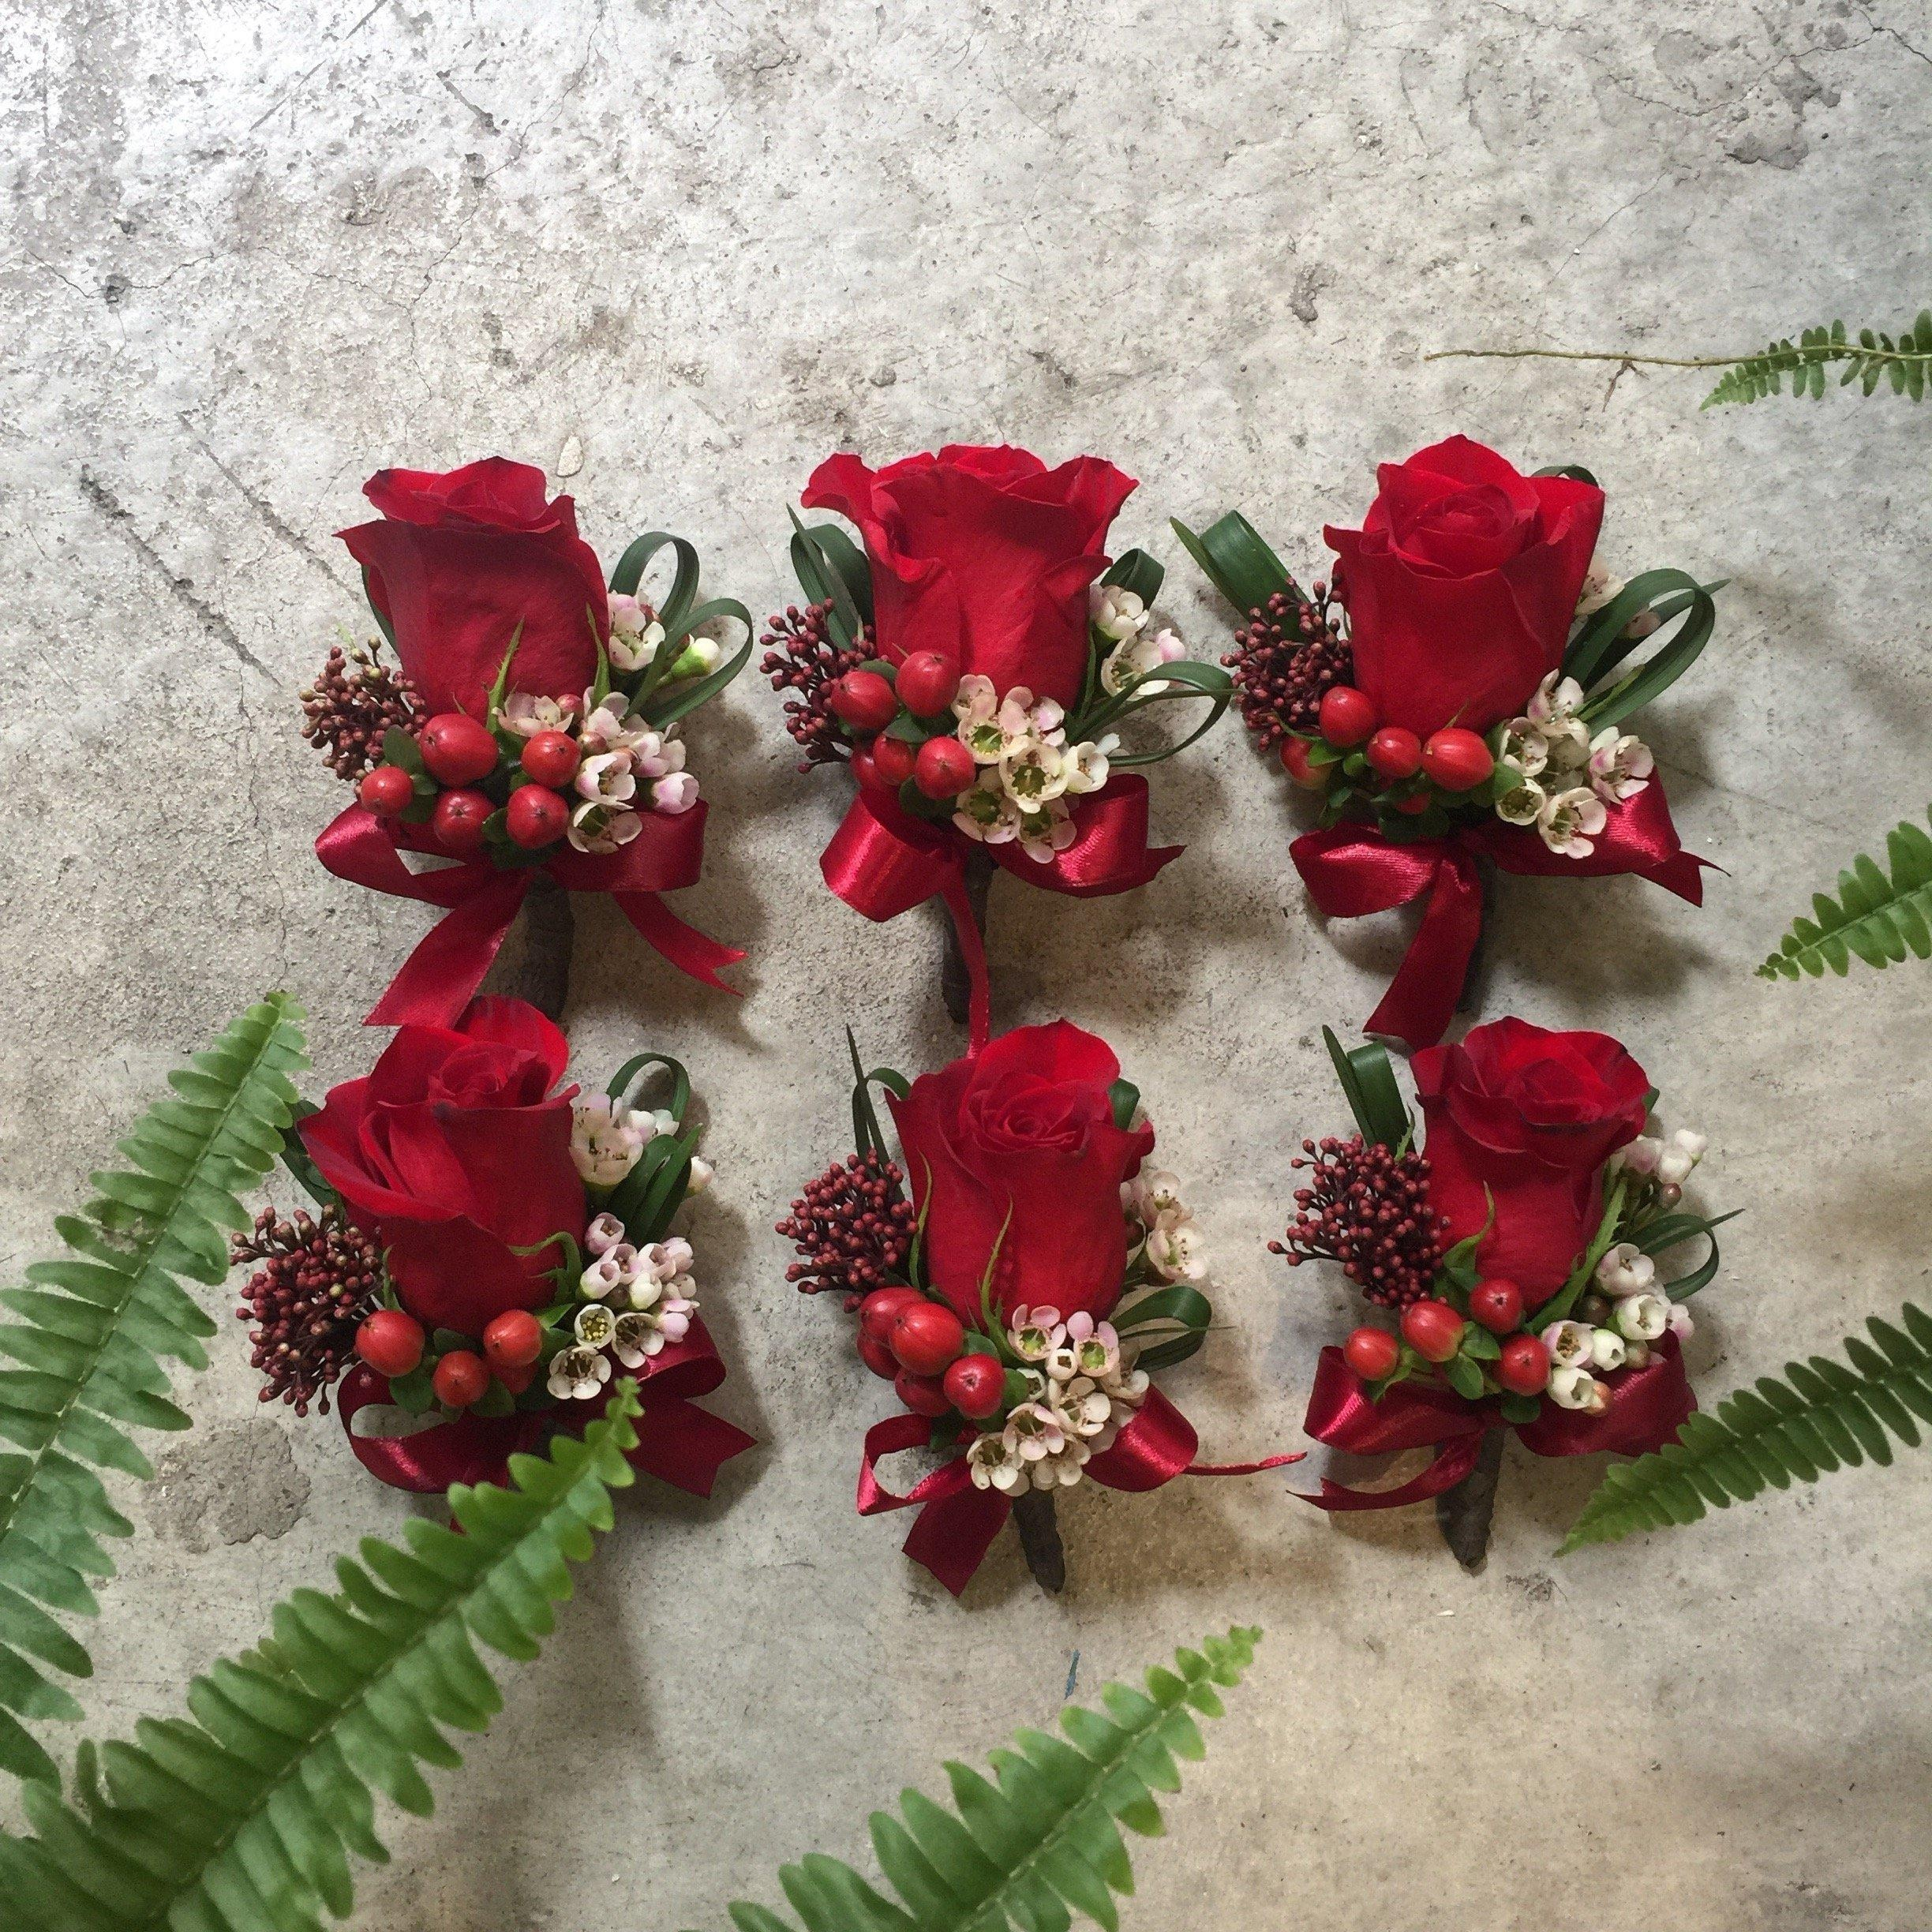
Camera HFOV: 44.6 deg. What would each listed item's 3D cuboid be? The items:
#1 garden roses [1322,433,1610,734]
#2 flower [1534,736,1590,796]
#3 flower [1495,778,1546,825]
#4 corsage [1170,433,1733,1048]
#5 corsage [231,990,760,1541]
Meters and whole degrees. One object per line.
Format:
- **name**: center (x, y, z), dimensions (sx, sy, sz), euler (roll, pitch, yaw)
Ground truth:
- **garden roses**: center (0.332, -0.243, 1.555), dimensions (0.186, 0.169, 0.159), euler (-25, 47, -13)
- **flower**: center (0.401, -0.135, 1.585), dimensions (0.051, 0.020, 0.036), euler (8, 107, 16)
- **flower**: center (0.370, -0.106, 1.566), dimensions (0.030, 0.039, 0.021), euler (-34, 66, -6)
- **corsage**: center (0.337, -0.133, 1.618), dimensions (0.382, 0.358, 0.244), euler (37, 76, 27)
- **corsage**: center (-0.294, 0.204, 1.607), dimensions (0.438, 0.231, 0.316), euler (-15, 67, -5)
